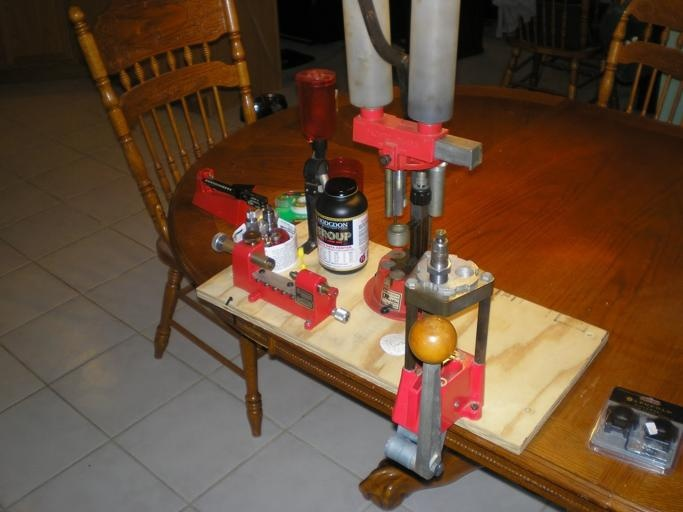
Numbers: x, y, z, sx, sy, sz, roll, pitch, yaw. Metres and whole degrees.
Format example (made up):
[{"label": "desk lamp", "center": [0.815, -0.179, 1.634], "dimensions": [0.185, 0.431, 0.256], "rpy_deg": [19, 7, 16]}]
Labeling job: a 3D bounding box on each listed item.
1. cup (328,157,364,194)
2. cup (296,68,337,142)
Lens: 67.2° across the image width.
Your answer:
[{"label": "cup", "center": [0.021, -0.240, 1.439], "dimensions": [0.094, 0.076, 0.100], "rpy_deg": [2, 27, -1]}, {"label": "cup", "center": [-0.054, -0.340, 1.163], "dimensions": [0.080, 0.118, 0.107], "rpy_deg": [-6, 40, -2]}]
